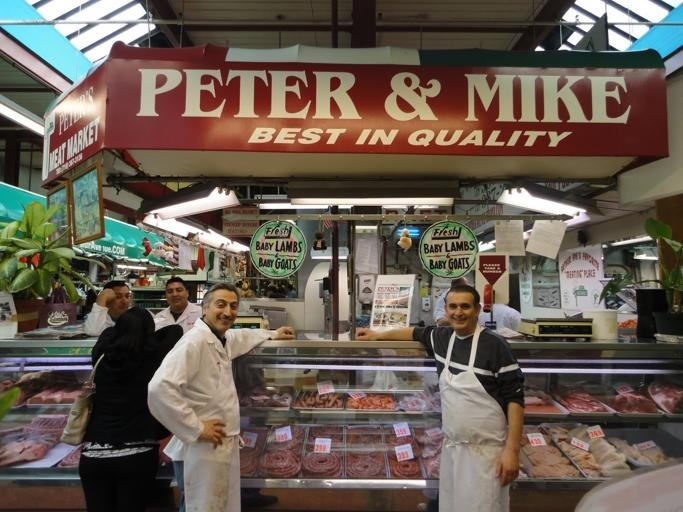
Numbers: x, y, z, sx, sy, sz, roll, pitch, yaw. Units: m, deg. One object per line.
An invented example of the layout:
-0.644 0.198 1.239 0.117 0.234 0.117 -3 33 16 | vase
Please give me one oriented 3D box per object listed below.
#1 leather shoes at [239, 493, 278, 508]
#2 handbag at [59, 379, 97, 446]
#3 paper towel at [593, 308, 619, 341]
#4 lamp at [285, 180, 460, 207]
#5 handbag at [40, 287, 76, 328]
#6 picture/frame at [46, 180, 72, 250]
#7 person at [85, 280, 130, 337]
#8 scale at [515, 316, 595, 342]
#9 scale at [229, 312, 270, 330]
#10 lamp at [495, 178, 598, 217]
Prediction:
-0.707 2.117 4.673 0.414 0.140 0.113 0 2 -6 | leather shoes
-2.059 1.240 4.202 0.223 0.509 0.142 1 -7 -19 | handbag
2.336 0.611 4.734 0.192 0.262 0.204 -3 -6 22 | paper towel
0.336 -0.655 5.401 1.725 0.247 0.227 -1 -5 -1 | lamp
-2.814 0.525 5.315 0.476 0.371 0.248 0 -8 -15 | handbag
-2.693 -0.373 5.124 0.032 0.594 0.563 4 -28 -43 | picture/frame
-2.232 0.549 5.302 0.369 0.762 0.252 -7 41 -34 | person
1.881 0.643 4.672 0.615 0.196 0.253 -2 -5 17 | scale
-0.850 0.624 5.106 0.296 0.159 0.176 0 -5 -4 | scale
2.141 -0.574 5.538 0.715 0.176 0.432 11 -2 -8 | lamp
